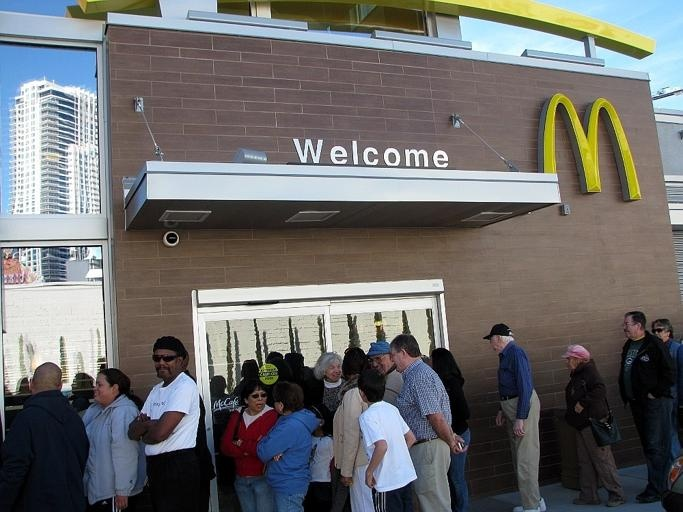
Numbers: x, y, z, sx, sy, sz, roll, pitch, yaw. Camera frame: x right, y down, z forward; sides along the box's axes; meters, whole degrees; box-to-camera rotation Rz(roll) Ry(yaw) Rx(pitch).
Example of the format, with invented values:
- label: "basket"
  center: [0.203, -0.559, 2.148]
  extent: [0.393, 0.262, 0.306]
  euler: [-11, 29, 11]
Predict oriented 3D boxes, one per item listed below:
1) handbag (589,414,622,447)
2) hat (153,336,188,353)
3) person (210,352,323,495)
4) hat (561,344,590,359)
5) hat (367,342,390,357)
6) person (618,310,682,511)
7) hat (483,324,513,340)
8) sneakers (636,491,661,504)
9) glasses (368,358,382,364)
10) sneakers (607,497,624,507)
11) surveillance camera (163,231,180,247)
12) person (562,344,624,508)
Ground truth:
- label: "handbag"
  center: [3.554, 2.392, 7.724]
  extent: [0.383, 0.379, 0.163]
  euler: [-4, -7, -9]
- label: "hat"
  center: [-1.749, 0.919, 5.909]
  extent: [0.212, 0.115, 0.252]
  euler: [-1, -8, -1]
- label: "person"
  center: [-0.726, 1.832, 6.361]
  extent: [0.953, 1.243, 0.457]
  euler: [0, 4, 9]
- label: "hat"
  center: [3.302, 1.339, 8.096]
  extent: [0.333, 0.162, 0.227]
  euler: [1, -4, 24]
- label: "hat"
  center: [0.454, 1.162, 7.010]
  extent: [0.263, 0.141, 0.367]
  euler: [-6, -11, 6]
- label: "person"
  center: [4.279, 2.062, 7.959]
  extent: [0.674, 2.532, 0.480]
  euler: [-8, -8, 21]
- label: "hat"
  center: [2.134, 1.041, 7.942]
  extent: [0.404, 0.229, 0.275]
  euler: [-1, -4, 28]
- label: "sneakers"
  center: [4.139, 3.273, 7.713]
  extent: [0.278, 0.114, 0.132]
  euler: [5, -9, -12]
- label: "glasses"
  center: [0.397, 1.304, 7.030]
  extent: [0.113, 0.035, 0.117]
  euler: [3, -21, -3]
- label: "sneakers"
  center: [3.638, 3.310, 7.641]
  extent: [0.264, 0.102, 0.092]
  euler: [12, -21, -28]
- label: "surveillance camera"
  center: [-2.276, -0.217, 7.631]
  extent: [0.215, 0.204, 0.072]
  euler: [-3, -7, -17]
- label: "person"
  center: [3.427, 2.333, 7.912]
  extent: [0.414, 2.147, 0.615]
  euler: [1, -9, -41]
